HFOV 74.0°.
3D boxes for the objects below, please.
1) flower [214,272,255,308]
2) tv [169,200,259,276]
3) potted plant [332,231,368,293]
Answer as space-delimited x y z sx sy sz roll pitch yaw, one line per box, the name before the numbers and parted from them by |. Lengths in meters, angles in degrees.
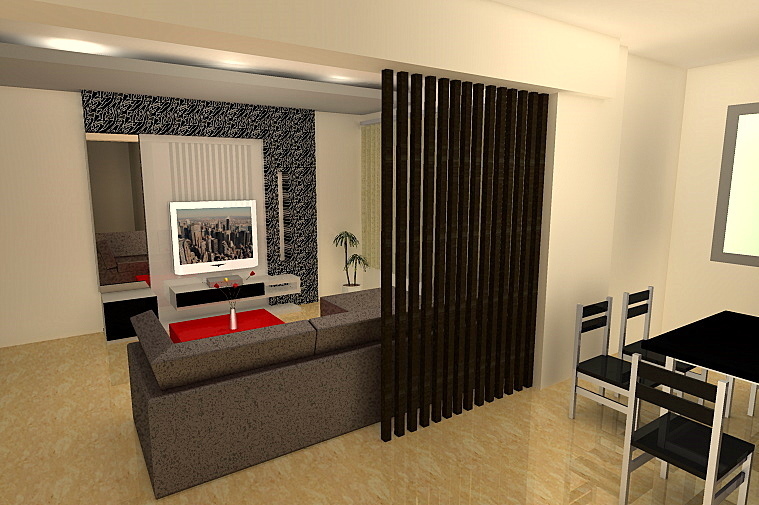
flower | -2.165 0.718 7.672 0.457 0.794 0.714 -6 1 -15
tv | -2.540 -0.240 7.552 1.124 0.941 0.085 -5 11 -27
potted plant | -0.474 0.148 8.784 0.560 1.032 0.462 -6 11 -18
